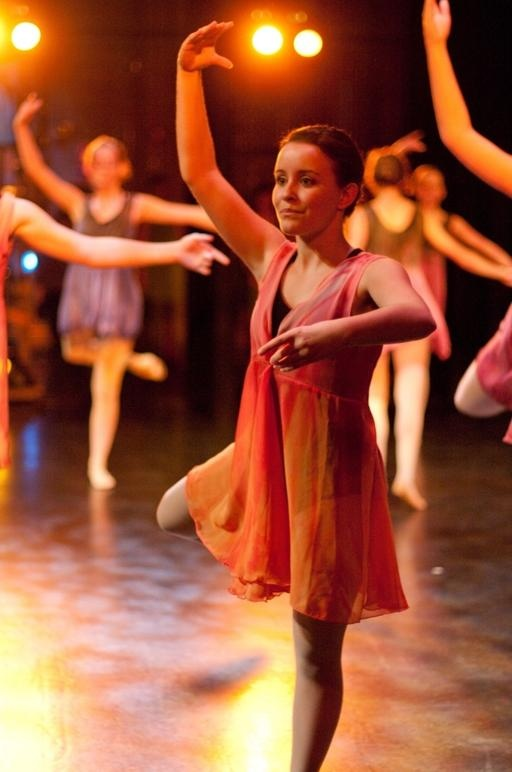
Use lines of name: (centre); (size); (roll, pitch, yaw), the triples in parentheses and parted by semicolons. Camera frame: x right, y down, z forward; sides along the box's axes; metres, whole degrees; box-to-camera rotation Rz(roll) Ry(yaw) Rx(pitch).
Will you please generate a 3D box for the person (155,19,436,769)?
person: (0.074, 0.068, 1.394); (0.362, 1.392, 0.575); (-1, 6, -12)
